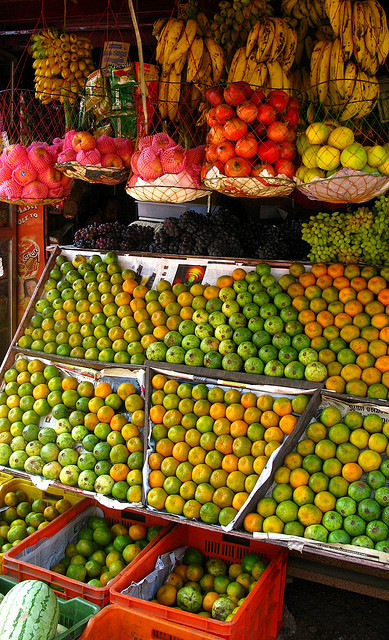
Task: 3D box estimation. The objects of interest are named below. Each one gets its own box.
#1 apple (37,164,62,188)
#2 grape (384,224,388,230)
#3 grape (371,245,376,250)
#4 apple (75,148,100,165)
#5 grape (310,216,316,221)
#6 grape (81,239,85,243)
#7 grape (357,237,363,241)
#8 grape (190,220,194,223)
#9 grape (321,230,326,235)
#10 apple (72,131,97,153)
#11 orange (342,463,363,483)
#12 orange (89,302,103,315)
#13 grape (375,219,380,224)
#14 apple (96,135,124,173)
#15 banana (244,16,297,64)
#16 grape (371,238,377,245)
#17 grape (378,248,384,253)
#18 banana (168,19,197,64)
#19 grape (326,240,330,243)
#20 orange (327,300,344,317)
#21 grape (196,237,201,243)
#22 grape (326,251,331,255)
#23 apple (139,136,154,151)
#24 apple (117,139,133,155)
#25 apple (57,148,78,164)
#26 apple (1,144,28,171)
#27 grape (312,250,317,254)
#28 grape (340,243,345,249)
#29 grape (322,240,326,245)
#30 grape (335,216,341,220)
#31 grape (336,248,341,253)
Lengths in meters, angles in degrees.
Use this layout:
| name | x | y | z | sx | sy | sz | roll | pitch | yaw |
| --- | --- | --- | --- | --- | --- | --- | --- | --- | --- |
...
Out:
| name | x | y | z | sx | sy | sz | roll | pitch | yaw |
| --- | --- | --- | --- | --- | --- | --- | --- | --- | --- |
| apple | -0.759 | -0.758 | 2.302 | 0.129 | 0.117 | 0.070 | -9 | 24 | -22 |
| grape | 0.924 | -0.452 | 2.120 | 0.020 | 0.021 | 0.006 | -28 | 4 | -2 |
| grape | 0.890 | -0.365 | 2.185 | 0.022 | 0.025 | 0.015 | 10 | 24 | 21 |
| apple | -0.514 | -0.782 | 2.106 | 0.086 | 0.088 | 0.088 | 10 | 30 | 40 |
| grape | 0.621 | -0.537 | 2.306 | 0.030 | 0.023 | 0.040 | 6 | 23 | 12 |
| grape | -0.816 | -0.580 | 3.206 | 0.029 | 0.021 | 0.007 | 36 | 7 | 26 |
| grape | 0.824 | -0.406 | 2.187 | 0.025 | 0.020 | 0.020 | -7 | 23 | -18 |
| grape | -0.020 | -0.627 | 2.772 | 0.022 | 0.013 | 0.035 | -9 | 24 | -22 |
| grape | 0.657 | -0.452 | 2.243 | 0.018 | 0.025 | 0.006 | 0 | 10 | 17 |
| apple | -0.549 | -0.883 | 2.214 | 0.100 | 0.107 | 0.107 | 2 | 15 | 30 |
| orange | 0.662 | 0.642 | 1.841 | 0.074 | 0.075 | 0.070 | -29 | -37 | 29 |
| orange | -0.612 | -0.075 | 2.725 | 0.067 | 0.074 | 0.073 | -3 | 23 | 6 |
| grape | 0.877 | -0.476 | 2.109 | 0.021 | 0.020 | 0.008 | 8 | 23 | 18 |
| apple | -0.423 | -0.833 | 2.222 | 0.122 | 0.219 | 0.098 | -11 | -2 | -2 |
| banana | 0.344 | -1.238 | 1.964 | 0.176 | 0.245 | 0.083 | 8 | -6 | -2 |
| grape | 0.882 | -0.390 | 2.160 | 0.027 | 0.033 | 0.011 | -7 | 23 | -18 |
| grape | 0.929 | -0.351 | 2.190 | 0.025 | 0.026 | 0.017 | -8 | 23 | -20 |
| banana | -0.058 | -1.326 | 2.077 | 0.058 | 0.230 | 0.080 | 26 | 6 | 7 |
| grape | 0.688 | -0.409 | 2.263 | 0.015 | 0.015 | 0.013 | 6 | 22 | 12 |
| orange | 0.701 | -0.061 | 2.179 | 0.067 | 0.067 | 0.069 | -9 | -2 | 3 |
| grape | 0.023 | -0.499 | 2.705 | 0.009 | 0.031 | 0.030 | 12 | -12 | -24 |
| grape | 0.703 | -0.359 | 2.308 | 0.016 | 0.016 | 0.005 | 1 | 7 | 24 |
| apple | -0.226 | -0.828 | 2.052 | 0.067 | 0.063 | 0.167 | -2 | 23 | -6 |
| apple | -0.362 | -0.912 | 2.324 | 0.089 | 0.035 | 0.092 | -4 | 57 | 22 |
| apple | -0.631 | -0.819 | 2.176 | 0.087 | 0.067 | 0.144 | -11 | 25 | -26 |
| apple | -0.927 | -0.859 | 2.321 | 0.152 | 0.141 | 0.119 | 12 | 16 | 22 |
| grape | 0.643 | -0.370 | 2.363 | 0.028 | 0.023 | 0.012 | 19 | 28 | 37 |
| grape | 0.753 | -0.382 | 2.239 | 0.023 | 0.028 | 0.013 | 5 | 22 | 10 |
| grape | 0.670 | -0.406 | 2.276 | 0.026 | 0.027 | 0.013 | -17 | 28 | -37 |
| grape | 0.723 | -0.516 | 2.207 | 0.018 | 0.015 | 0.026 | -5 | 23 | -14 |
| grape | 0.745 | -0.363 | 2.274 | 0.023 | 0.026 | 0.017 | 8 | 23 | 17 |
